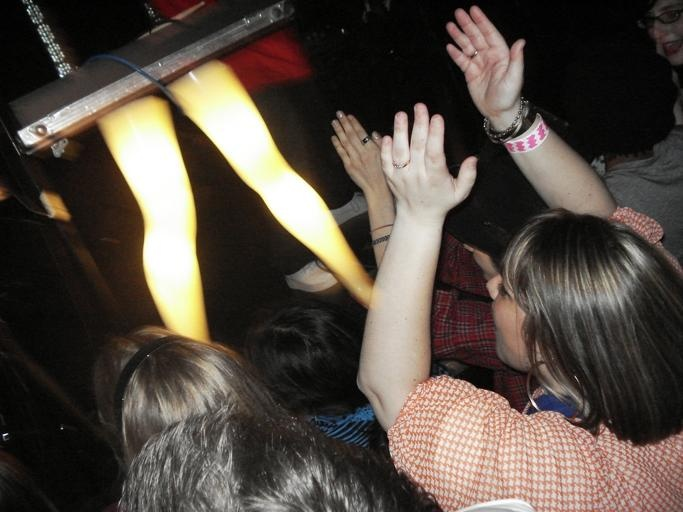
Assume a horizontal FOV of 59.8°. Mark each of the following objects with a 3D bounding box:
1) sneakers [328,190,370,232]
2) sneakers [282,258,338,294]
[{"bbox_3d":[0.030,-0.179,2.446,0.159,0.110,0.048,-41,18,-9],"label":"sneakers"},{"bbox_3d":[-0.108,0.091,2.393,0.171,0.077,0.129,-8,44,-17],"label":"sneakers"}]
